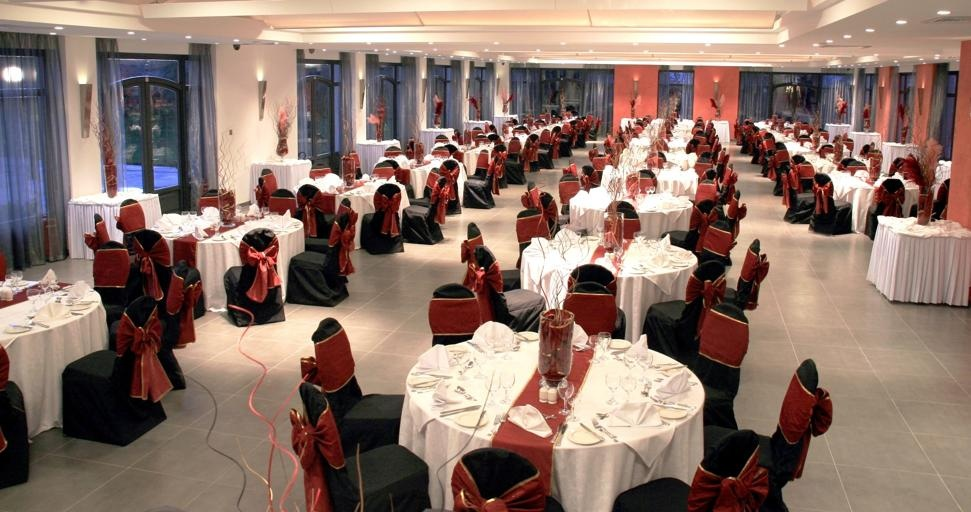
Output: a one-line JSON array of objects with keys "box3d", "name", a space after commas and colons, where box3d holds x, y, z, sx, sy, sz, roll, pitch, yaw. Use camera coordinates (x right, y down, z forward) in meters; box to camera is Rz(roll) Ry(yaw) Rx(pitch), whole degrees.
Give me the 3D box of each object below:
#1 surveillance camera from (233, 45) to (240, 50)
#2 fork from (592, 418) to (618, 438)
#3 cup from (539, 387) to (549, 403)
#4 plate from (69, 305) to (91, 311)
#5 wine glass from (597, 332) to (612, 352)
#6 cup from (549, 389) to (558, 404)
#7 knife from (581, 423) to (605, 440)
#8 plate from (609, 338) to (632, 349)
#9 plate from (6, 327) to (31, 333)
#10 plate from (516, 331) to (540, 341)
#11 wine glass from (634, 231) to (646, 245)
[{"box3d": [-6.345, -5.352, 15.777, 0.158, 0.116, 0.159, -2, 3, -5], "name": "surveillance camera"}, {"box3d": [1.260, 1.847, 6.522, 0.090, 0.064, 0.431, -18, 26, -13], "name": "fork"}, {"box3d": [0.642, 1.529, 6.795, 0.091, 0.153, 0.074, -3, 14, -4], "name": "cup"}, {"box3d": [-5.448, 0.698, 8.285, 0.209, 0.063, 0.153, 1, 14, 13], "name": "plate"}, {"box3d": [1.415, 1.026, 7.473, 0.200, 0.215, 0.199, 4, 11, 29], "name": "wine glass"}, {"box3d": [0.732, 1.541, 6.760, 0.146, 0.142, 0.141, 0, 4, 0], "name": "cup"}, {"box3d": [1.134, 1.860, 6.501, 0.215, 0.034, 0.032, 34, -5, 38], "name": "knife"}, {"box3d": [1.666, 1.078, 7.564, 0.261, 0.081, 0.234, 2, 14, 15], "name": "plate"}, {"box3d": [-5.914, 0.930, 7.802, 0.223, 0.064, 0.114, -1, 14, 6], "name": "plate"}, {"box3d": [0.525, 0.999, 7.681, 0.258, 0.063, 0.199, -4, 14, -9], "name": "plate"}, {"box3d": [2.536, -0.300, 10.108, 0.191, 0.196, 0.184, -4, 16, -11], "name": "wine glass"}]
